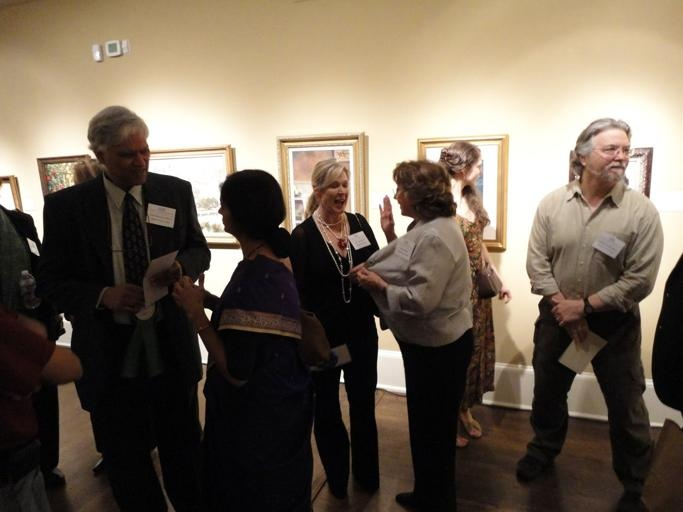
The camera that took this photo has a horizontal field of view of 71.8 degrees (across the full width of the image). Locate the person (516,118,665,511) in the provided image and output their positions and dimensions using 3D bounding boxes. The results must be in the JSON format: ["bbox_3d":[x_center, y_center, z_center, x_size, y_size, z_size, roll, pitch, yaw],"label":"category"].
[{"bbox_3d":[1.671,0.333,3.118,0.858,2.390,0.725,5,15,23],"label":"person"}]

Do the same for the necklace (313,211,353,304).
[{"bbox_3d":[-0.053,0.016,3.047,0.249,0.521,0.279,-3,14,-4],"label":"necklace"}]

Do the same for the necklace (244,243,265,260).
[{"bbox_3d":[-0.418,-0.016,2.197,0.077,0.032,0.059,-25,-21,39],"label":"necklace"}]

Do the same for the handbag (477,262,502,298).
[{"bbox_3d":[1.117,0.162,3.597,0.209,0.230,0.104,-4,9,-36],"label":"handbag"}]

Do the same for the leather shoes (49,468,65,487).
[{"bbox_3d":[-2.038,1.612,3.407,0.111,0.098,0.073,8,0,5],"label":"leather shoes"}]

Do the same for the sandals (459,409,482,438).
[{"bbox_3d":[1.022,1.348,3.774,0.068,0.172,0.209,-18,8,-6],"label":"sandals"}]

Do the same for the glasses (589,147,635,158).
[{"bbox_3d":[1.746,-0.664,3.013,0.185,0.071,0.054,-1,15,3],"label":"glasses"}]

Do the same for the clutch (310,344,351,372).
[{"bbox_3d":[-0.054,0.591,2.771,0.174,0.051,0.195,-22,-9,8],"label":"clutch"}]

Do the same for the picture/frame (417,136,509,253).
[{"bbox_3d":[0.871,-0.444,3.268,0.802,1.123,0.067,1,7,17],"label":"picture/frame"}]

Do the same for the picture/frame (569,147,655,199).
[{"bbox_3d":[1.849,-0.570,3.208,0.364,0.420,0.032,3,6,14],"label":"picture/frame"}]
